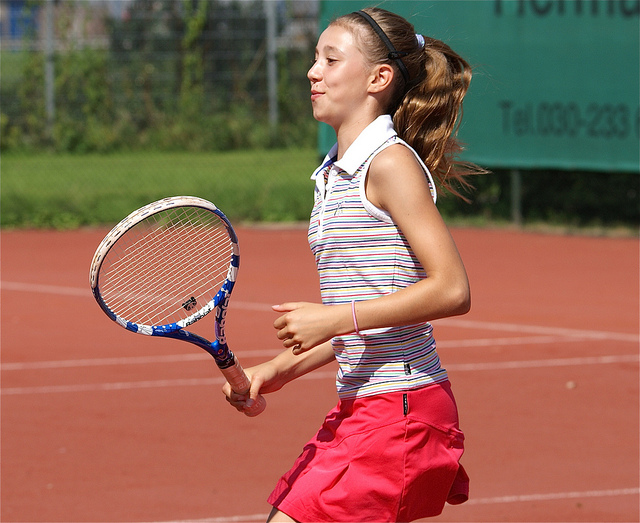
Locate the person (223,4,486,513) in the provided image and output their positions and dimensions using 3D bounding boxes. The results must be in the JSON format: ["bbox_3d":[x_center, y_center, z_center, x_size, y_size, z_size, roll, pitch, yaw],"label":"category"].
[{"bbox_3d":[0.143,-0.042,3.081,0.765,1.685,1.018,0,12,9],"label":"person"}]

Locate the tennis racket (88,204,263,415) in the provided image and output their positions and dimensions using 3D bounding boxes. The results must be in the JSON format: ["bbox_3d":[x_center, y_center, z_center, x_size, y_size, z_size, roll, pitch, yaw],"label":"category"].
[{"bbox_3d":[-0.438,0.226,3.181,0.559,0.144,1.020,-35,50,-10],"label":"tennis racket"}]
